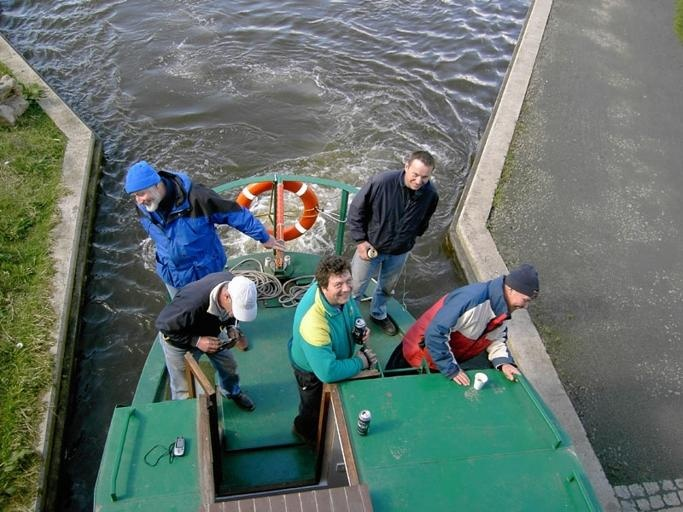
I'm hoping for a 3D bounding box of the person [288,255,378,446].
[{"bbox_3d":[-0.084,1.220,7.728,0.884,2.161,0.951,14,59,10],"label":"person"}]

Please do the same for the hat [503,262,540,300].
[{"bbox_3d":[2.185,0.253,7.662,0.381,0.315,0.369,22,25,30],"label":"hat"}]

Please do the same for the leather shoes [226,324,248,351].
[{"bbox_3d":[-1.334,1.098,8.287,0.220,0.368,0.145,-17,41,23],"label":"leather shoes"}]

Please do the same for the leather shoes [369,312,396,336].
[{"bbox_3d":[0.667,1.050,9.722,0.434,0.188,0.201,38,50,15],"label":"leather shoes"}]

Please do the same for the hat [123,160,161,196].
[{"bbox_3d":[-2.543,-1.025,8.143,0.494,0.332,0.386,-25,25,-31],"label":"hat"}]

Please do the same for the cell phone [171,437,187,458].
[{"bbox_3d":[-1.821,2.153,7.213,0.137,0.058,0.199,1,64,-1],"label":"cell phone"}]

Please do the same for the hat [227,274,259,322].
[{"bbox_3d":[-1.163,0.519,7.483,0.324,0.215,0.507,-4,68,-34],"label":"hat"}]
